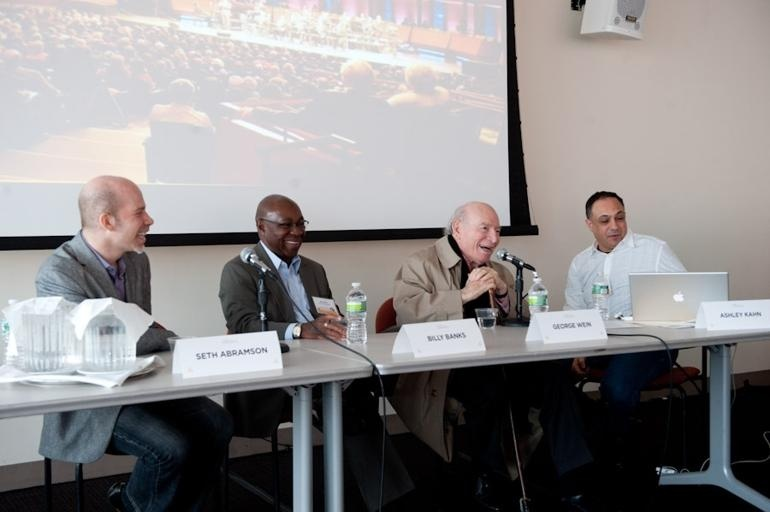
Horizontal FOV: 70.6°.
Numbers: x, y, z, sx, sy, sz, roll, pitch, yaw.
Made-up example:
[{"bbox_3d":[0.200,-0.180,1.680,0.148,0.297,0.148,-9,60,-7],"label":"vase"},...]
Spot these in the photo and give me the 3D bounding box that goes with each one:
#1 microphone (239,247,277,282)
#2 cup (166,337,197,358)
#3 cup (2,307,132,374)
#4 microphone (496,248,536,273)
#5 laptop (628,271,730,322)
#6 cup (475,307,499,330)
[{"bbox_3d":[-0.670,0.053,2.844,0.220,0.077,0.075,32,60,30],"label":"microphone"},{"bbox_3d":[-0.810,0.364,2.150,0.120,0.077,0.118,1,2,0],"label":"cup"},{"bbox_3d":[-1.192,0.311,2.054,0.391,0.198,0.236,1,-2,-6],"label":"cup"},{"bbox_3d":[0.896,0.031,3.696,0.292,0.080,0.089,27,9,37],"label":"microphone"},{"bbox_3d":[1.539,0.215,2.890,0.423,0.251,0.293,0,-3,6],"label":"laptop"},{"bbox_3d":[0.569,0.342,2.958,0.103,0.083,0.110,0,-8,0],"label":"cup"}]
